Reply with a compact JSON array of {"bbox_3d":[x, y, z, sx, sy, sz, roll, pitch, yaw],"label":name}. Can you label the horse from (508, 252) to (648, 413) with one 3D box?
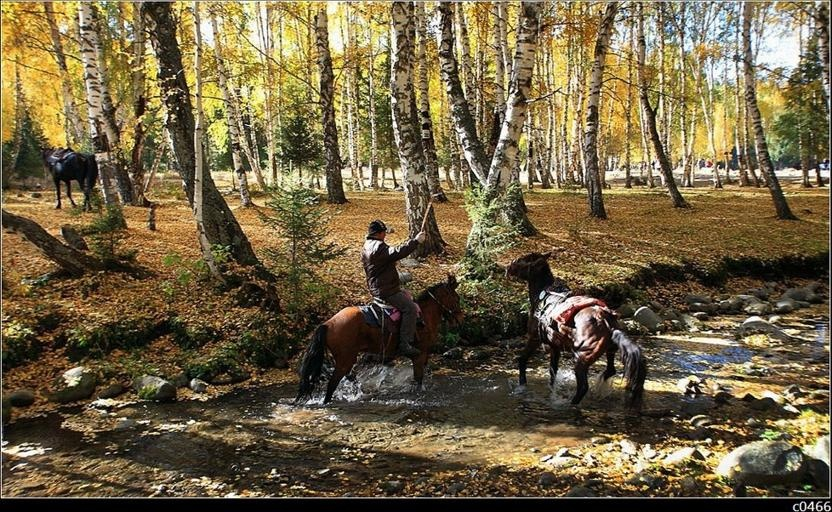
[{"bbox_3d":[3.986,1.871,12.266,1.295,3.787,3.338,-7,6,-39],"label":"horse"}]
